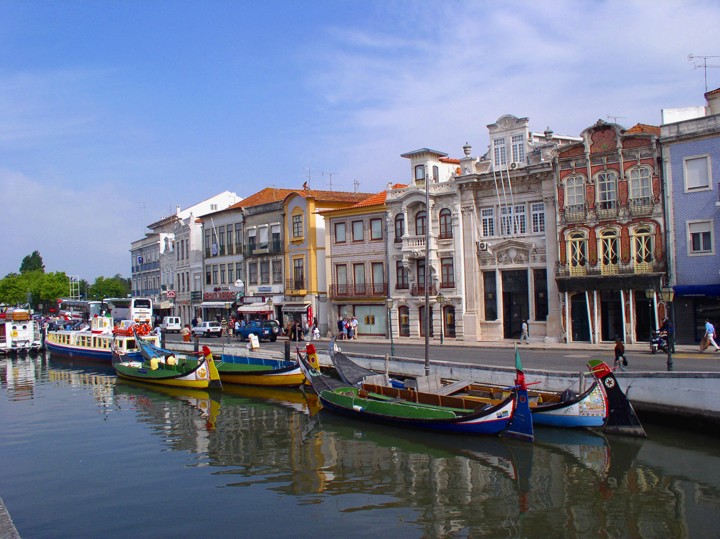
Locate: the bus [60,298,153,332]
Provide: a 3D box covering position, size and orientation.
[{"bbox_3d":[-26.344,4.747,80.896,3.584,3.534,13.893,2,-1,-41],"label":"bus"}]

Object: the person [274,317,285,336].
[{"bbox_3d":[-7.644,5.546,72.912,0.654,1.424,1.144,1,1,-24],"label":"person"}]

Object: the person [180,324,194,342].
[{"bbox_3d":[-15.924,5.916,71.591,0.983,1.455,0.884,10,40,0],"label":"person"}]

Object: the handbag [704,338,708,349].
[{"bbox_3d":[19.376,4.182,43.714,0.208,0.645,0.608,1,8,28],"label":"handbag"}]

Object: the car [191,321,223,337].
[{"bbox_3d":[-14.513,5.645,73.158,1.282,0.920,2.743,1,2,-38],"label":"car"}]

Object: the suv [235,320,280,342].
[{"bbox_3d":[-8.425,5.097,64.844,1.659,1.346,3.558,1,2,-43],"label":"suv"}]
